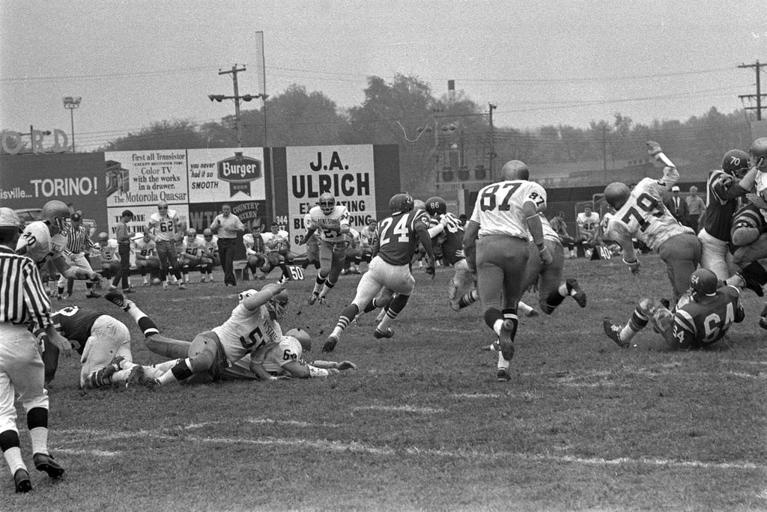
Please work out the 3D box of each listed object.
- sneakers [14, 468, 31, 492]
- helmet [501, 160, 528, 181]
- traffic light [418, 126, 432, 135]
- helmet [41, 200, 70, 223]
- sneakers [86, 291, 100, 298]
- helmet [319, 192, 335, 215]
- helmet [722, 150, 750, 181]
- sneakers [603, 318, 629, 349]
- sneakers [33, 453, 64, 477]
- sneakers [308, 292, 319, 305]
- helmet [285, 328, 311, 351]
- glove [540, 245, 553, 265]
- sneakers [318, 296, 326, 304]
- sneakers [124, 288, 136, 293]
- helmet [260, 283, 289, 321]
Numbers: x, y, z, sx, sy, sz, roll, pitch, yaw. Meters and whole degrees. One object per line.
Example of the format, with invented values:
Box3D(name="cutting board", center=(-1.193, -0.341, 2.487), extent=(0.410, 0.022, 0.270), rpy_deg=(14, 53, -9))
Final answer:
Box3D(name="sneakers", center=(-3.979, 2.461, 13.435), extent=(0.178, 0.264, 0.250), rpy_deg=(-5, 24, -20))
Box3D(name="helmet", center=(1.730, -1.150, 15.981), extent=(0.248, 0.300, 0.306), rpy_deg=(3, 18, 7))
Box3D(name="traffic light", center=(1.284, -4.036, 38.609), extent=(0.310, 0.085, 0.249), rpy_deg=(-22, -26, -5))
Box3D(name="helmet", center=(-4.995, -0.632, 18.331), extent=(0.386, 0.332, 0.327), rpy_deg=(-6, 26, -6))
Box3D(name="sneakers", center=(-5.985, 0.786, 24.913), extent=(0.238, 0.102, 0.133), rpy_deg=(-1, 14, 0))
Box3D(name="helmet", center=(-1.084, -1.012, 22.888), extent=(0.293, 0.398, 0.391), rpy_deg=(-1, 1, -2))
Box3D(name="helmet", center=(4.998, -1.317, 17.286), extent=(0.416, 0.416, 0.340), rpy_deg=(0, 16, 7))
Box3D(name="sneakers", center=(3.207, 1.050, 16.914), extent=(0.199, 0.510, 0.257), rpy_deg=(-41, 3, -10))
Box3D(name="sneakers", center=(-3.731, 2.367, 13.641), extent=(0.183, 0.216, 0.425), rpy_deg=(-24, -38, 12))
Box3D(name="sneakers", center=(-1.289, 0.767, 22.049), extent=(0.108, 0.137, 0.302), rpy_deg=(16, 12, -3))
Box3D(name="helmet", center=(-1.199, 1.133, 17.029), extent=(0.287, 0.272, 0.328), rpy_deg=(-18, -34, 26))
Box3D(name="glove", center=(2.172, -0.019, 16.309), extent=(0.163, 0.220, 0.084), rpy_deg=(13, -51, -38))
Box3D(name="sneakers", center=(-1.168, 0.766, 22.265), extent=(0.120, 0.169, 0.171), rpy_deg=(-4, -23, 2))
Box3D(name="sneakers", center=(-5.461, 0.727, 25.990), extent=(0.217, 0.074, 0.152), rpy_deg=(-10, -7, -10))
Box3D(name="helmet", center=(-1.432, 0.596, 16.158), extent=(0.368, 0.474, 0.471), rpy_deg=(-7, 21, 6))
